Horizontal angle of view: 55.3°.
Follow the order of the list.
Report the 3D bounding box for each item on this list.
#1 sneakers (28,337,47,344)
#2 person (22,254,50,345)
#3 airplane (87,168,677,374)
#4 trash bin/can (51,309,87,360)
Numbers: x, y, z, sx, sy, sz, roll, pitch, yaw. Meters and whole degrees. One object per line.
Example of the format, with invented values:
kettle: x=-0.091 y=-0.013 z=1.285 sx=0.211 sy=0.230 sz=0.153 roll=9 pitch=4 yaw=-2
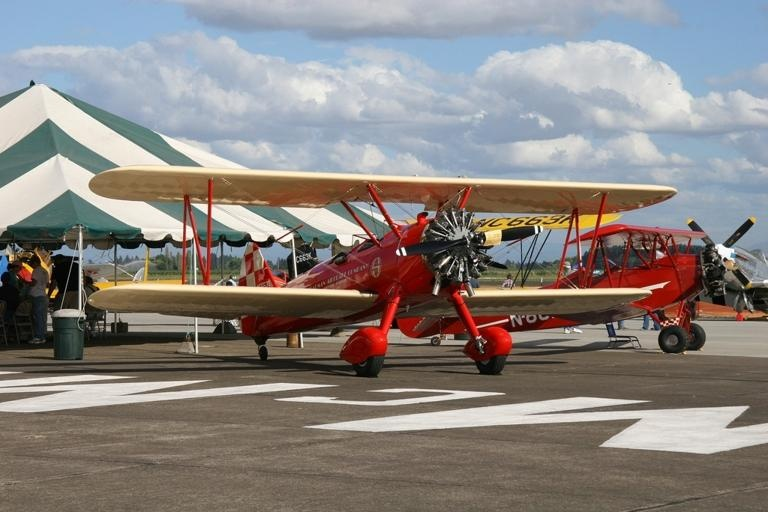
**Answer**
sneakers: x=-7.951 y=1.936 z=16.796 sx=0.539 sy=0.123 sz=0.148 roll=2 pitch=0 yaw=11
person: x=-7.959 y=0.963 z=16.825 sx=0.390 sy=2.009 sz=0.997 roll=2 pitch=-4 yaw=-23
airplane: x=-0.844 y=0.051 z=12.556 sx=8.825 sy=1.690 sz=5.058 roll=2 pitch=-5 yaw=-30
trash bin/can: x=-5.662 y=1.401 z=13.138 sx=0.522 sy=0.889 sz=0.591 roll=1 pitch=-4 yaw=-20
